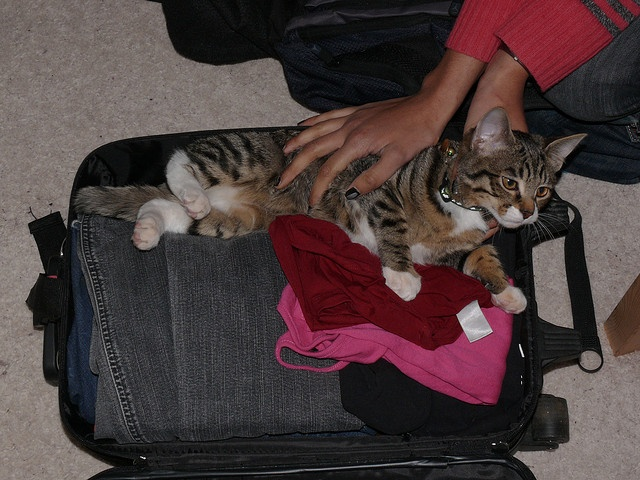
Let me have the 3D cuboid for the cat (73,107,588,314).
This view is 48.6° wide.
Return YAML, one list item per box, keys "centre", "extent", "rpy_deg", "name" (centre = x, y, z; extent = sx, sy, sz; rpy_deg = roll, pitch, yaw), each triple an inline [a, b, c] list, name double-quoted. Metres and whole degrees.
- centre: [0.014, -0.100, 2.144]
  extent: [1.277, 0.577, 0.615]
  rpy_deg: [4, 49, -7]
  name: "cat"

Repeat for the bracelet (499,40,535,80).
- centre: [0.545, -0.485, 1.990]
  extent: [0.117, 0.088, 0.030]
  rpy_deg: [41, 91, -2]
  name: "bracelet"
